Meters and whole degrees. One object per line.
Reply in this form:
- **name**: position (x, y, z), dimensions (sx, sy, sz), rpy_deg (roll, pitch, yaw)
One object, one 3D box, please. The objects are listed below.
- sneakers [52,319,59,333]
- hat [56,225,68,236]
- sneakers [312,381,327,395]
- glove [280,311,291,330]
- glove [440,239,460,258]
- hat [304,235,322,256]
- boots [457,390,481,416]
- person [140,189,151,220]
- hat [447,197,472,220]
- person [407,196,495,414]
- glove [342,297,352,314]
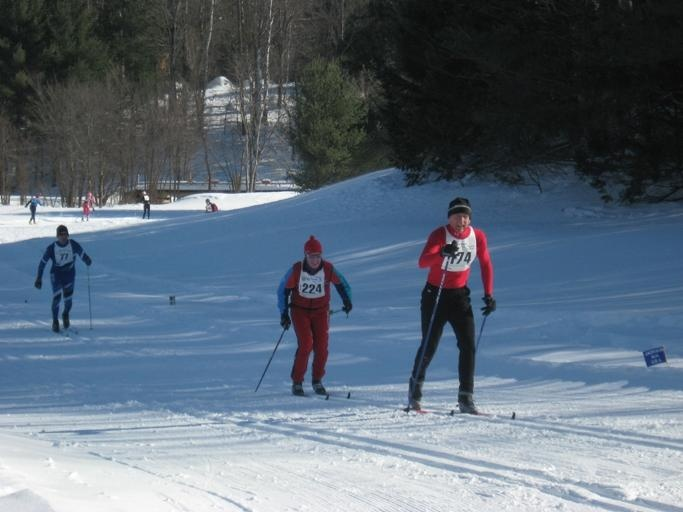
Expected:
- **sneakers**: position (-5.981, 1.487, 19.458), dimensions (0.103, 0.241, 0.329), rpy_deg (-3, 13, -8)
- **hat**: position (-5.897, -0.551, 19.642), dimensions (0.218, 0.277, 0.301), rpy_deg (-1, -8, -14)
- **sneakers**: position (-0.369, 2.346, 16.248), dimensions (0.130, 0.138, 0.305), rpy_deg (-6, 26, -22)
- **glove**: position (-0.980, 1.138, 16.180), dimensions (0.091, 0.298, 0.207), rpy_deg (7, 7, 43)
- **glove**: position (1.767, -0.105, 14.873), dimensions (0.342, 0.282, 0.166), rpy_deg (-2, 3, -35)
- **hat**: position (-0.469, -0.167, 16.241), dimensions (0.298, 0.378, 0.414), rpy_deg (0, -6, -15)
- **boots**: position (2.071, 2.402, 15.131), dimensions (0.350, 0.343, 0.255), rpy_deg (0, 3, 9)
- **person**: position (-8.802, -2.250, 41.816), dimensions (0.324, 1.156, 2.039), rpy_deg (-1, 3, -12)
- **hat**: position (1.935, -0.779, 15.218), dimensions (0.358, 0.313, 0.375), rpy_deg (2, 5, 24)
- **person**: position (1.797, 0.822, 15.170), dimensions (1.367, 3.481, 0.500), rpy_deg (0, 3, 4)
- **glove**: position (0.139, 0.864, 16.317), dimensions (0.217, 0.305, 0.100), rpy_deg (-30, -21, 38)
